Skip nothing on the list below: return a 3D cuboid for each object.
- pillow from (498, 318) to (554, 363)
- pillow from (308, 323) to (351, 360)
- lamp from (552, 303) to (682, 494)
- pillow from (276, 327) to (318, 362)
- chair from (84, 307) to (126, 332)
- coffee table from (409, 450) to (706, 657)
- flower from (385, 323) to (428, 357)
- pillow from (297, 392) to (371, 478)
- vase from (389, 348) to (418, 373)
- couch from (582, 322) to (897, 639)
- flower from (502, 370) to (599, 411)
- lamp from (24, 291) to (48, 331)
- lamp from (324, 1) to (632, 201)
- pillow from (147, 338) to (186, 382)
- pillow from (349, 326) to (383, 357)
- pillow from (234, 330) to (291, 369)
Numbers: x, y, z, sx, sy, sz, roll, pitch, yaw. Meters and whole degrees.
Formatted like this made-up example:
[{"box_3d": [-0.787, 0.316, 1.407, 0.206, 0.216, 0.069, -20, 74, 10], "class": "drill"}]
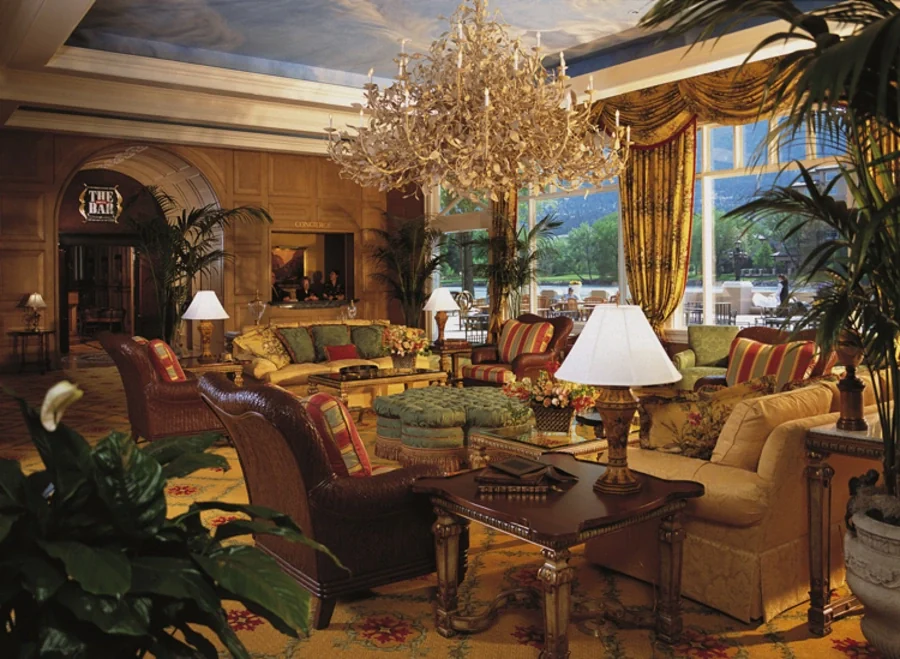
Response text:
[{"box_3d": [0.916, 0.140, 7.679, 0.254, 0.390, 0.596, 11, -8, -44], "class": "pillow"}, {"box_3d": [-1.444, 0.110, 7.869, 0.476, 0.407, 0.170, -1, -20, -32], "class": "pillow"}, {"box_3d": [0.710, 0.267, 3.310, 0.832, 1.000, 0.830, 2, 4, 21], "class": "lamp"}, {"box_3d": [-1.751, 0.167, 7.656, 0.183, 0.404, 0.432, -36, -7, 31], "class": "pillow"}, {"box_3d": [-8.134, -0.225, 15.498, 0.572, 0.684, 0.643, -1, 4, -38], "class": "chair"}, {"box_3d": [0.482, 0.975, 2.989, 0.936, 0.716, 0.865, -5, 6, -36], "class": "coffee table"}, {"box_3d": [-0.429, 0.106, 6.904, 0.381, 0.224, 0.346, 2, 4, 6], "class": "flower"}, {"box_3d": [-0.541, 0.505, 3.212, 0.181, 0.366, 0.402, -21, 13, -14], "class": "pillow"}, {"box_3d": [-0.493, 0.329, 6.845, 0.280, 0.174, 0.231, -3, 5, -37], "class": "vase"}, {"box_3d": [1.457, 0.648, 3.732, 1.515, 1.106, 1.424, -5, 5, -39], "class": "couch"}, {"box_3d": [0.697, 0.411, 4.367, 0.317, 0.154, 0.406, 2, 6, -40], "class": "flower"}, {"box_3d": [-6.193, -0.276, 9.845, 0.300, 0.587, 0.607, -5, 6, -31], "class": "lamp"}, {"box_3d": [0.191, -1.901, 5.695, 2.629, 1.602, 2.382, 0, 0, -2], "class": "lamp"}, {"box_3d": [-2.494, 0.283, 5.802, 0.120, 0.348, 0.368, -19, 15, 20], "class": "pillow"}, {"box_3d": [-1.034, 0.150, 8.131, 0.460, 0.394, 0.170, -12, -12, -28], "class": "pillow"}, {"box_3d": [-2.139, 0.195, 7.473, 0.547, 0.421, 0.420, 0, 5, 14], "class": "pillow"}]
